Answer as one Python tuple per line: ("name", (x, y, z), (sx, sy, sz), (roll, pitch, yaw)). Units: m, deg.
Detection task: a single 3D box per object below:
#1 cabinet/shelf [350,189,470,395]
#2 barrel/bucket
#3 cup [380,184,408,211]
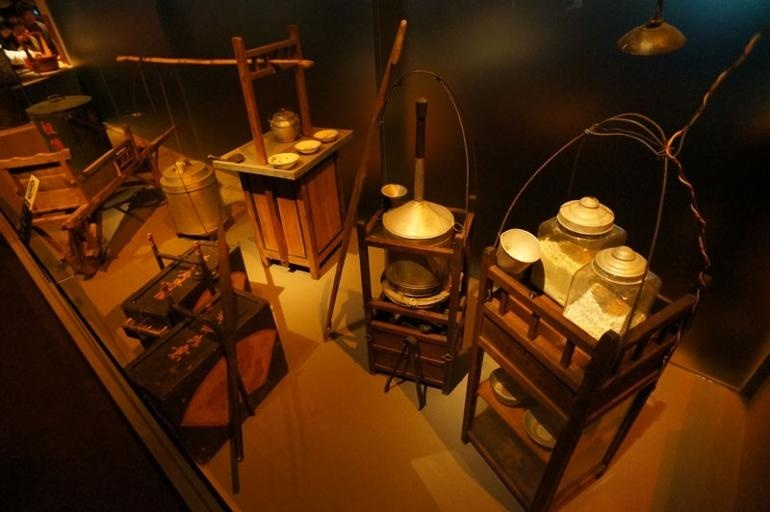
("cabinet/shelf", (0.267, 0.268, 4.419), (0.923, 1.512, 0.860), (8, 35, 10))
("barrel/bucket", (-1.961, -0.570, 5.678), (0.644, 0.865, 0.594), (2, 41, -1))
("cup", (0.078, -0.474, 4.459), (0.212, 0.155, 0.217), (2, 43, -2))
